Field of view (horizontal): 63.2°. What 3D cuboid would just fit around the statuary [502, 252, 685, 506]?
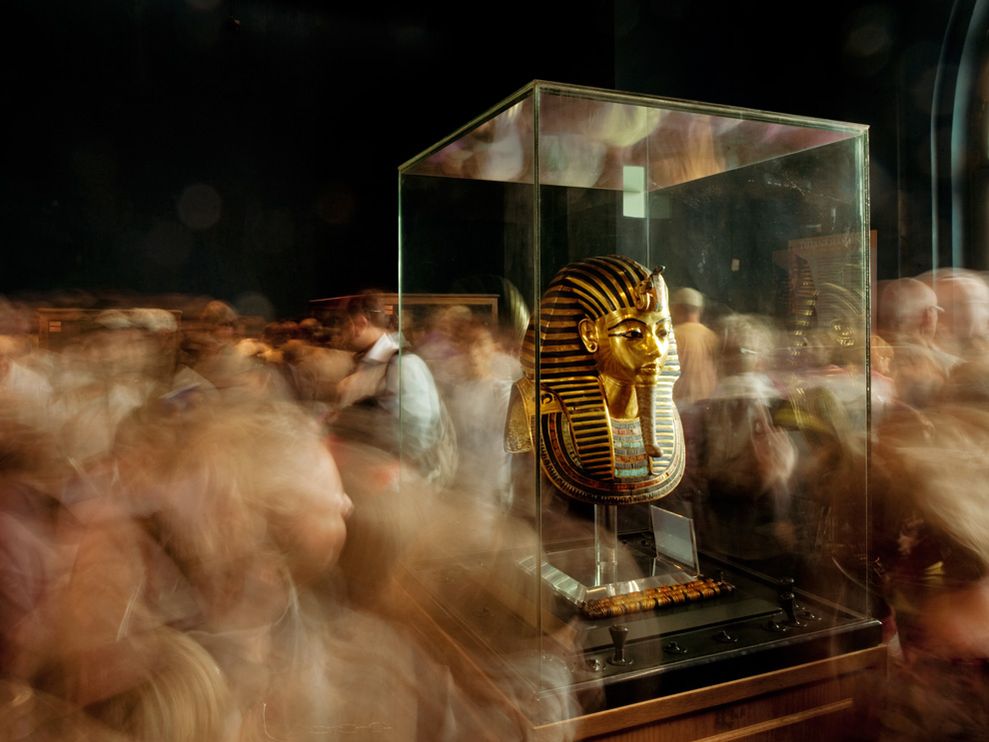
[{"bbox_3d":[0.280,0.015,2.643,0.727,0.864,0.608,0,-2,-31],"label":"statuary"}]
